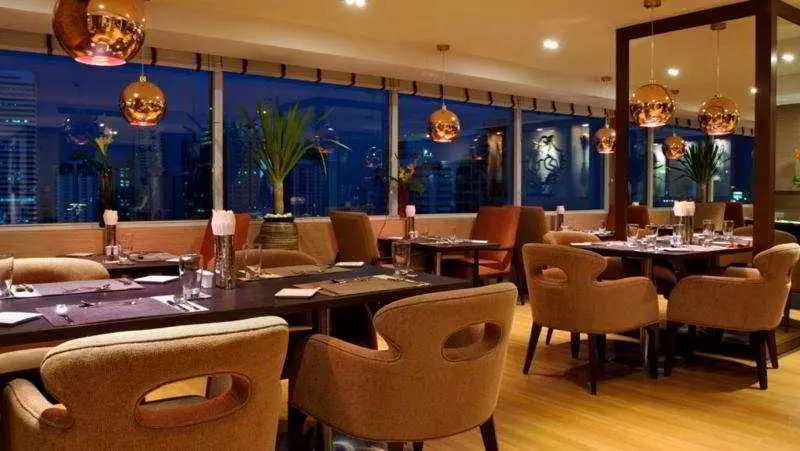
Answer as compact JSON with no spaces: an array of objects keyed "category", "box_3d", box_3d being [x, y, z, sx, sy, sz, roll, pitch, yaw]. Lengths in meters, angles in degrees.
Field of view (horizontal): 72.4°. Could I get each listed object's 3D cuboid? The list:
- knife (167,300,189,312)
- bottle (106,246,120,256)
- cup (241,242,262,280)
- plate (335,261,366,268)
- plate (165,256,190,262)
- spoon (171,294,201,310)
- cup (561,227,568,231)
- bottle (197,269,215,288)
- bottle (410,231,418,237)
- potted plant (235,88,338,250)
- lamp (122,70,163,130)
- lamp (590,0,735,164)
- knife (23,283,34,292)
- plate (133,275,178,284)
[{"category":"knife","box_3d":[-1.398,0.509,3.428,0.029,0.021,0.197,-18,18,-37]},{"category":"bottle","box_3d":[-2.810,0.239,5.341,0.136,0.115,0.129,2,-1,6]},{"category":"cup","box_3d":[-1.101,0.263,4.062,0.118,0.243,0.161,-5,14,-15]},{"category":"plate","box_3d":[-0.414,0.327,4.434,0.223,0.024,0.116,0,12,1]},{"category":"plate","box_3d":[-1.857,0.281,4.530,0.117,0.012,0.127,2,1,11]},{"category":"spoon","box_3d":[-1.359,0.477,3.457,0.090,0.038,0.293,-3,5,-31]},{"category":"cup","box_3d":[2.405,0.058,8.025,0.063,0.055,0.106,7,-2,-10]},{"category":"bottle","box_3d":[-1.353,0.366,3.785,0.135,0.092,0.121,-2,3,-31]},{"category":"bottle","box_3d":[0.177,0.125,7.264,0.080,0.068,0.090,-3,5,-29]},{"category":"potted plant","box_3d":[-1.511,-0.553,7.225,1.488,1.992,1.472,7,9,17]},{"category":"lamp","box_3d":[-2.567,-1.247,5.568,0.499,0.607,0.470,1,3,-21]},{"category":"lamp","box_3d":[3.467,-1.903,7.156,1.991,2.365,1.384,0,-1,32]},{"category":"knife","box_3d":[-2.550,0.423,3.748,0.164,0.055,0.049,5,4,44]},{"category":"plate","box_3d":[-1.805,0.397,3.998,0.304,0.024,0.126,0,12,1]}]
